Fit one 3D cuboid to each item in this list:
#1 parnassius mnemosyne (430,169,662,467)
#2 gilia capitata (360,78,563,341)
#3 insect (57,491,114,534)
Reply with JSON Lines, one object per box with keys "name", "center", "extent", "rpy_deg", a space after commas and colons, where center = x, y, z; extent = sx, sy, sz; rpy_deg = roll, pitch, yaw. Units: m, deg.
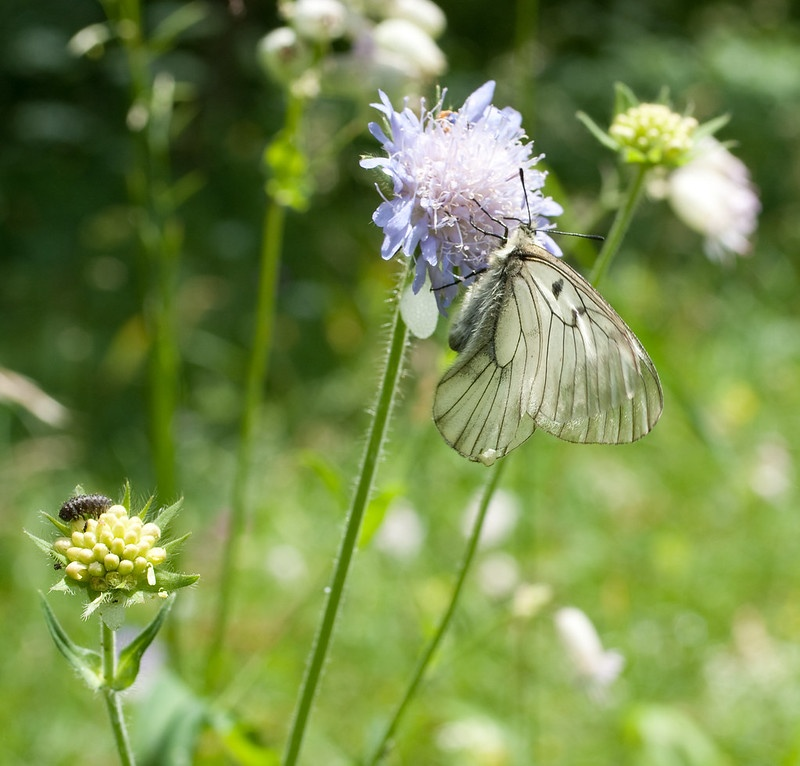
{"name": "parnassius mnemosyne", "center": [0.433, -0.178, 2.462], "extent": [0.601, 0.676, 0.408], "rpy_deg": [-3, 11, 40]}
{"name": "gilia capitata", "center": [0.103, -0.408, 2.180], "extent": [0.408, 0.629, 0.263], "rpy_deg": [14, -31, -12]}
{"name": "insect", "center": [-0.650, 0.271, 2.047], "extent": [0.089, 0.068, 0.038], "rpy_deg": [-4, -73, 47]}
